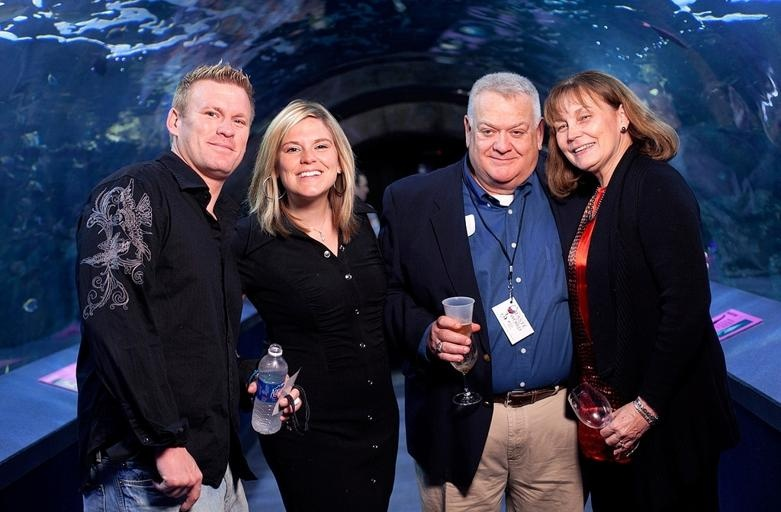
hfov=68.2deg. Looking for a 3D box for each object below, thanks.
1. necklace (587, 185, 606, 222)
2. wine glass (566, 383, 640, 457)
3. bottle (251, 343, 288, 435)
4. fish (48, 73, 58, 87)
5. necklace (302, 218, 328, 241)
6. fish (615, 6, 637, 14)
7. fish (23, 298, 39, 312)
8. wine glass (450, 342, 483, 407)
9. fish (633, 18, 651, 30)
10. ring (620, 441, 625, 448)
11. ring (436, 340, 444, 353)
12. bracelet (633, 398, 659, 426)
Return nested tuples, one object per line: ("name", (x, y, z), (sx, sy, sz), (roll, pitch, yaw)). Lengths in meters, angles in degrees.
("necklace", (1.119, -0.286, 3.157), (0.035, 0.170, 0.111), (21, -22, -12))
("wine glass", (1.111, 0.879, 3.052), (0.194, 0.411, 0.200), (-25, -2, -15))
("bottle", (-0.637, 0.721, 3.045), (0.199, 0.566, 0.250), (-7, 10, -13))
("fish", (-2.615, -1.357, 4.455), (0.042, 0.086, 0.072), (3, 12, 38))
("necklace", (-0.434, -0.142, 3.303), (0.132, 0.046, 0.098), (37, 24, 8))
("fish", (1.955, -2.043, 4.783), (0.158, 0.070, 0.023), (1, 11, 28))
("fish", (-2.843, 0.389, 4.555), (0.029, 0.107, 0.126), (-3, 10, 10))
("wine glass", (0.404, 0.644, 3.084), (0.154, 0.388, 0.157), (-3, 10, 6))
("fish", (2.099, -1.914, 4.780), (0.054, 0.053, 0.138), (3, 30, -45))
("ring", (1.195, 0.967, 2.969), (0.021, 0.027, 0.007), (10, 4, 6))
("ring", (0.256, 0.469, 2.990), (0.017, 0.047, 0.048), (3, 5, -39))
("bracelet", (1.299, 0.788, 2.949), (0.141, 0.059, 0.114), (45, -6, -31))
